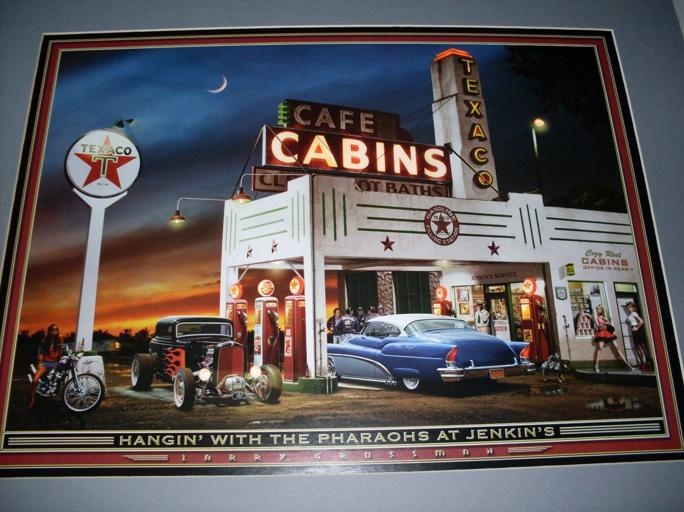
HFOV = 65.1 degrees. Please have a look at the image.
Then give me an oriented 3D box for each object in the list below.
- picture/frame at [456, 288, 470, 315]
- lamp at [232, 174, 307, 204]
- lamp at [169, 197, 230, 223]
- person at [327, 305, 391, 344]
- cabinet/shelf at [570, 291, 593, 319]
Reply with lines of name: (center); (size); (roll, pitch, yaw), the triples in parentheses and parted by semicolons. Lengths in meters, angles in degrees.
picture/frame: (2.550, 0.936, 11.250); (0.294, 0.595, 0.129); (-4, -14, 11)
lamp: (-1.207, -1.094, 9.738); (1.542, 0.668, 0.542); (3, -6, -11)
lamp: (-2.489, -0.794, 9.136); (0.865, 0.545, 0.183); (3, -14, -19)
person: (0.202, 1.303, 10.167); (0.666, 0.453, 0.973); (6, -15, -36)
cabinet/shelf: (4.687, 0.886, 10.484); (0.484, 0.534, 0.134); (3, -14, -20)
